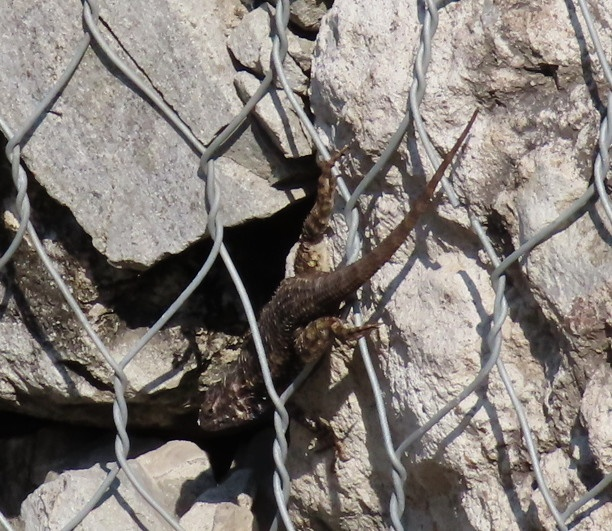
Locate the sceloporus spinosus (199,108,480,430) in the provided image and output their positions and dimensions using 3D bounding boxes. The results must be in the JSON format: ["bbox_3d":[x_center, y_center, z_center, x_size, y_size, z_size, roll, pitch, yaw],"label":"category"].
[{"bbox_3d":[0.054,0.044,4.179,0.188,0.698,1.094,19,-58,-45],"label":"sceloporus spinosus"}]
